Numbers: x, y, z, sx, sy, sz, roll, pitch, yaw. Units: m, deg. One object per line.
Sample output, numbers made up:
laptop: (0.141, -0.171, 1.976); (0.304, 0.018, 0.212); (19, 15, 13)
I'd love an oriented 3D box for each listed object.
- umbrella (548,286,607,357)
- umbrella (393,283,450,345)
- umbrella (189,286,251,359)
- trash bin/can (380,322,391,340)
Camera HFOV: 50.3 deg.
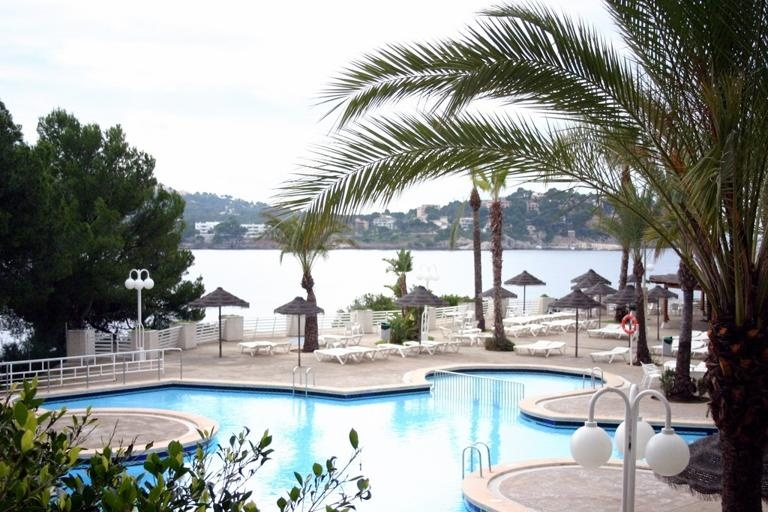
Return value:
umbrella: (6.093, 2.148, 26.687); (1.738, 2.669, 1.983); (-3, -6, 42)
umbrella: (1.289, 2.058, 27.804); (1.625, 2.207, 1.761); (2, 2, 28)
umbrella: (-5.178, 2.283, 27.137); (2.022, 2.602, 2.092); (-1, -1, -26)
trash bin/can: (0.052, 2.826, 29.948); (0.406, 0.817, 0.478); (-1, 2, -4)
